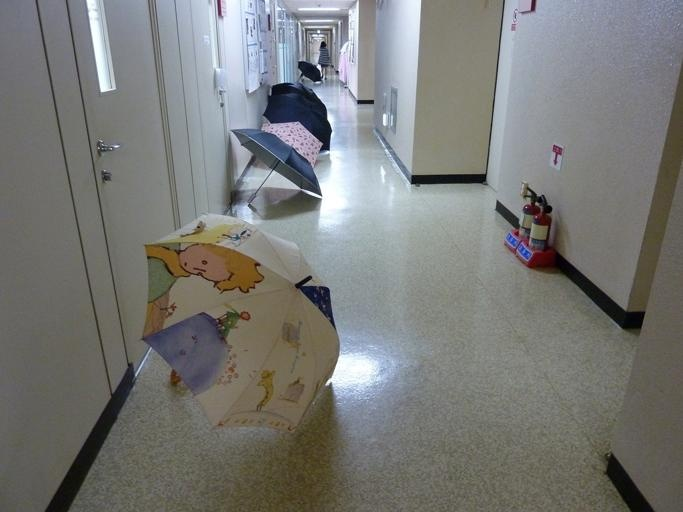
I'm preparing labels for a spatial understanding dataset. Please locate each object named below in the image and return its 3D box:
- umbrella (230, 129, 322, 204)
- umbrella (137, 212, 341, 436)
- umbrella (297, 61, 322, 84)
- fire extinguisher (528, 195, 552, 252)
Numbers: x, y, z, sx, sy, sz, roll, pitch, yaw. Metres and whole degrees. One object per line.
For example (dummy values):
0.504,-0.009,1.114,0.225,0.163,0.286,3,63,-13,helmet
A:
-0.601,-0.911,4.548,0.735,0.688,0.547,11,30,22,umbrella
-0.409,0.269,1.831,0.744,0.363,0.814,25,49,-42,umbrella
-1.048,-6.028,15.335,0.675,0.636,1.051,3,29,8,umbrella
1.478,-0.254,3.425,0.142,0.343,0.267,11,30,24,fire extinguisher
